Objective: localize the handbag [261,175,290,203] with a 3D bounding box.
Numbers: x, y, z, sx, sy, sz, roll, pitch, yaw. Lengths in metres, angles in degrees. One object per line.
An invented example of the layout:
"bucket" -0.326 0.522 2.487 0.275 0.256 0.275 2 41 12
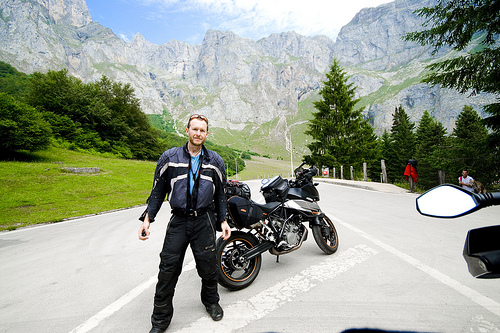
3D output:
"handbag" 0.728 0.589 8.054 0.745 0.758 0.641 -21 12 -8

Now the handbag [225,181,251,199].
"handbag" -0.295 0.631 8.273 0.466 0.270 0.625 11 4 28
